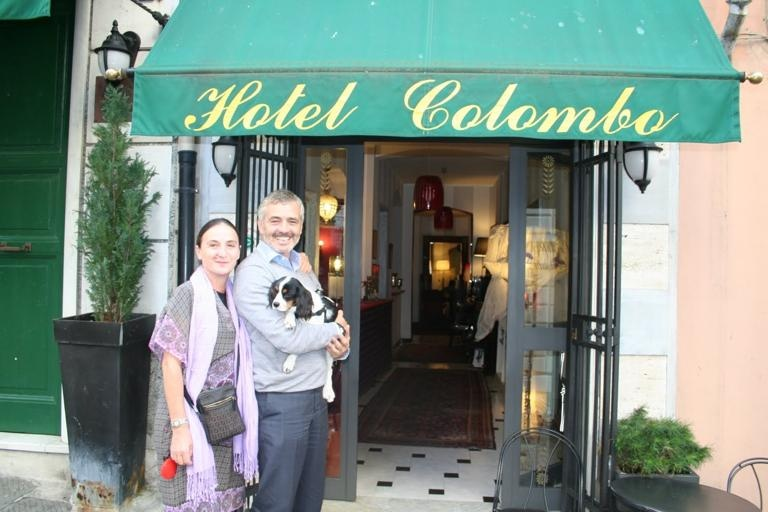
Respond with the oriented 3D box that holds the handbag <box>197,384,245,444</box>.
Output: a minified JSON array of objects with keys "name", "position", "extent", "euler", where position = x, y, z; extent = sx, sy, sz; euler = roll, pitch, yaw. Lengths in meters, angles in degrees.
[{"name":"handbag","position":[-1.107,1.070,5.631],"extent":[0.332,0.364,0.128],"euler":[-12,1,-29]}]

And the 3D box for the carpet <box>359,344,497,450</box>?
[{"name":"carpet","position":[0.486,1.754,9.344],"extent":[1.105,0.199,2.892],"euler":[3,5,5]}]

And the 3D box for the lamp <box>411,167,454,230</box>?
[{"name":"lamp","position":[0.718,-0.816,12.137],"extent":[0.493,1.049,0.505],"euler":[3,4,-24]}]

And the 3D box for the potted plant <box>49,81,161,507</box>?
[{"name":"potted plant","position":[-2.221,0.332,6.730],"extent":[0.738,2.882,0.469],"euler":[3,-1,-17]}]

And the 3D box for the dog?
[{"name":"dog","position":[-0.609,0.539,6.016],"extent":[0.450,0.905,0.431],"euler":[-1,8,-22]}]

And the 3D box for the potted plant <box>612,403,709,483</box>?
[{"name":"potted plant","position":[2.134,1.469,6.571],"extent":[0.723,0.460,0.456],"euler":[3,-1,-15]}]

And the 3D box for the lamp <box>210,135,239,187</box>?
[{"name":"lamp","position":[-1.292,-0.778,6.797],"extent":[0.205,0.307,0.319],"euler":[3,-1,-12]}]

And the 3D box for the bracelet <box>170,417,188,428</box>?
[{"name":"bracelet","position":[-1.366,1.114,5.567],"extent":[0.088,0.068,0.085],"euler":[-5,-4,-5]}]

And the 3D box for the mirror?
[{"name":"mirror","position":[1.253,0.506,18.036],"extent":[0.871,2.065,0.664],"euler":[0,5,7]}]

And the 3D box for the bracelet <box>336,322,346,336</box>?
[{"name":"bracelet","position":[-0.299,0.520,5.970],"extent":[0.061,0.082,0.080],"euler":[-3,-11,-2]}]
